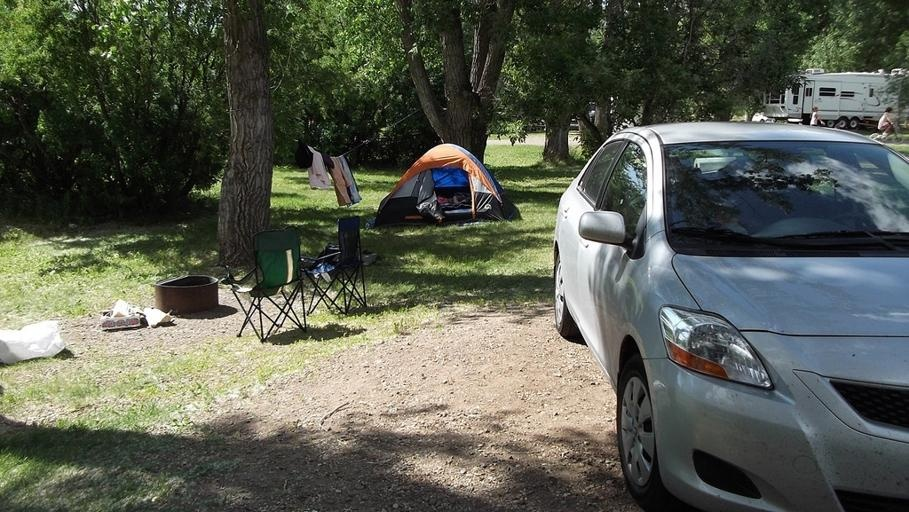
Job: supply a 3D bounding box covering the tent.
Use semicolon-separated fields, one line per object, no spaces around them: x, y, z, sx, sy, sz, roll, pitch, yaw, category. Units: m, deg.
-0.220;-1.917;16.860;3.503;2.069;0.798;-2;15;-6;tent
